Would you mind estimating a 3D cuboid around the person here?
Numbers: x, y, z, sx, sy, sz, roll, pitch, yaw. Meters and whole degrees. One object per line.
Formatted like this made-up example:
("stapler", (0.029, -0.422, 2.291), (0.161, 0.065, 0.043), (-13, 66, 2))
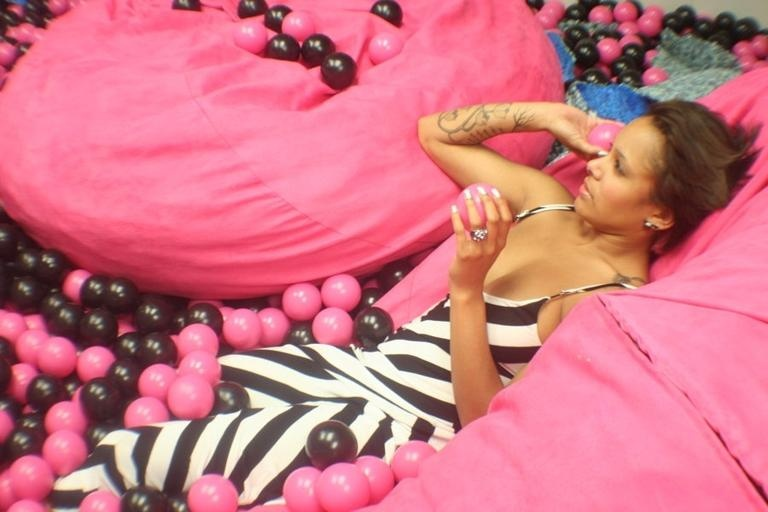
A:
("person", (-0.081, 0.051, 3.222), (2.312, 1.407, 1.094), (-13, 41, -8))
